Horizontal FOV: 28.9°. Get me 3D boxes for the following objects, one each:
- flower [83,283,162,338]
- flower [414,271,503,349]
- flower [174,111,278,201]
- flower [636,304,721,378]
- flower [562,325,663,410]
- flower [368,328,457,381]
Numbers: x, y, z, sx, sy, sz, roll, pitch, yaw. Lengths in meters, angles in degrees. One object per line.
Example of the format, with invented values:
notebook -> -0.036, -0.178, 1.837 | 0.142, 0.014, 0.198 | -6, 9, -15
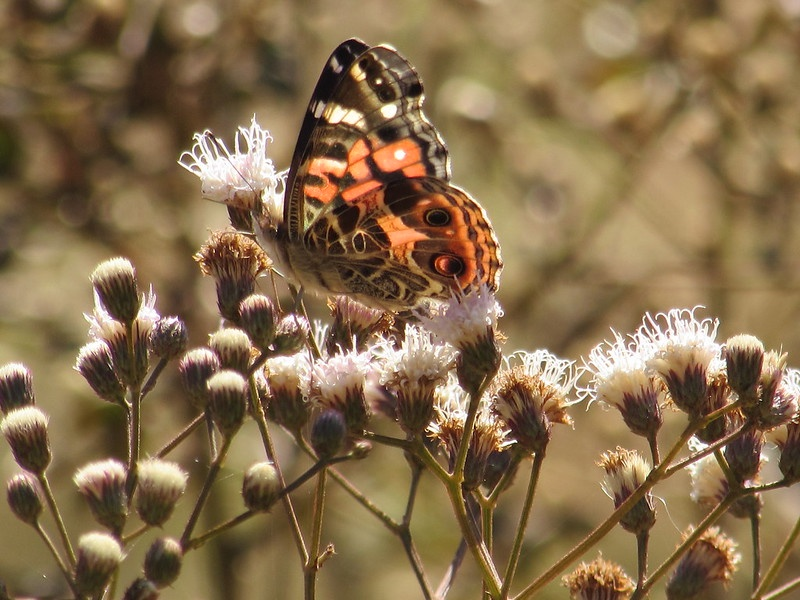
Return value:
flower -> -1.157, 0.008, 6.527 | 0.264, 0.292, 0.171 | 13, -85, 25
flower -> 0.254, 0.067, 6.493 | 0.306, 0.287, 0.194 | -36, -113, 12
flower -> -0.719, -0.608, 6.726 | 0.394, 0.392, 0.283 | -16, -80, 5
flower -> 1.165, 0.165, 6.581 | 0.309, 0.327, 0.353 | -10, -109, 19
flower -> 0.889, 0.294, 6.587 | 0.317, 0.319, 0.297 | -41, -88, 13
flower -> 0.062, 0.262, 6.450 | 0.259, 0.303, 0.183 | -6, -61, -10
